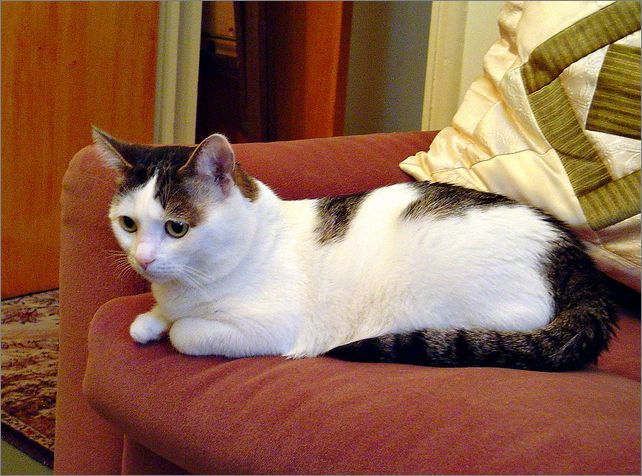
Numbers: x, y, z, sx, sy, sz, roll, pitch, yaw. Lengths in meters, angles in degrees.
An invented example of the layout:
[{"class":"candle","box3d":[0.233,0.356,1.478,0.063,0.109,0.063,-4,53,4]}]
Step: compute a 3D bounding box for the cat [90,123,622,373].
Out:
[{"class":"cat","box3d":[0.049,0.049,1.126,0.873,0.368,0.517,0,-1,-5]}]
